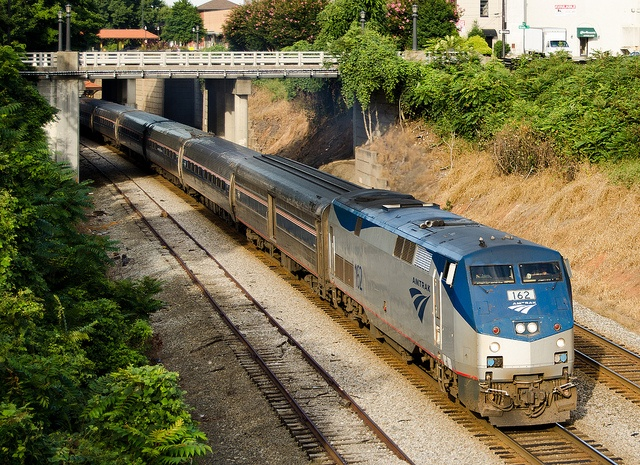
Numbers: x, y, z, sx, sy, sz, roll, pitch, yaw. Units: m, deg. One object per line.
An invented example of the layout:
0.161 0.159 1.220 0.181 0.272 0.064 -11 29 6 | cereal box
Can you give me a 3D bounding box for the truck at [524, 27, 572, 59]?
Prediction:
19.481 -16.663 60.434 3.641 1.940 2.974 5 18 16 | truck
